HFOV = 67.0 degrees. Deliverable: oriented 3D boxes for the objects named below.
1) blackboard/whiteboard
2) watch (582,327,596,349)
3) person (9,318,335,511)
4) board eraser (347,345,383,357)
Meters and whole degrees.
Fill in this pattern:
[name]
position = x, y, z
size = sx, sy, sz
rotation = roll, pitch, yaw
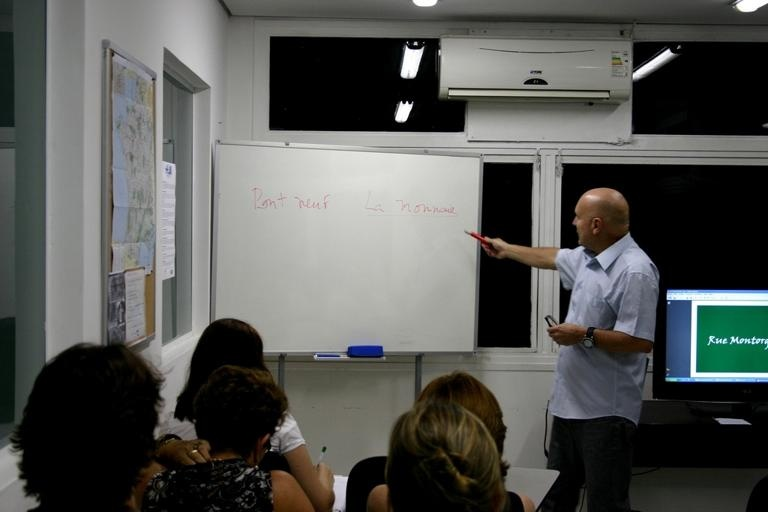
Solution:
[blackboard/whiteboard]
position = -0.186, -0.005, 3.691
size = 1.817, 1.366, 0.074
rotation = 0, 1, -22
[watch]
position = 1.102, 0.439, 3.118
size = 0.061, 0.101, 0.101
rotation = 5, 34, 9
[person]
position = -0.731, 0.717, 2.566
size = 1.033, 0.868, 1.362
rotation = 1, 2, -5
[board eraser]
position = -0.122, 0.600, 3.655
size = 0.234, 0.076, 0.039
rotation = 1, 2, -10
